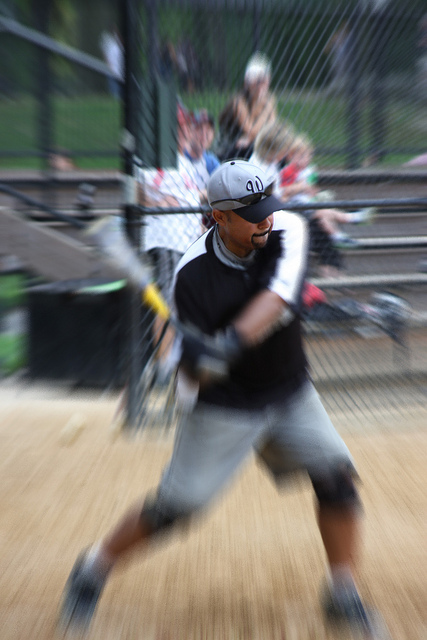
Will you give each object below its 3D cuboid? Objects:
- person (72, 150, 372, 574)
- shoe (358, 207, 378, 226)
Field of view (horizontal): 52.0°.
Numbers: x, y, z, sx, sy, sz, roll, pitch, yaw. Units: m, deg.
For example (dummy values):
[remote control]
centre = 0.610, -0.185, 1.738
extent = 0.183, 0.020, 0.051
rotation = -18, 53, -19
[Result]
[person]
centre = 0.049, 0.121, 1.066
extent = 0.637, 1.003, 0.321
rotation = 4, 11, 16
[shoe]
centre = 0.798, -0.543, 2.297
extent = 0.081, 0.100, 0.036
rotation = 1, 9, -25
